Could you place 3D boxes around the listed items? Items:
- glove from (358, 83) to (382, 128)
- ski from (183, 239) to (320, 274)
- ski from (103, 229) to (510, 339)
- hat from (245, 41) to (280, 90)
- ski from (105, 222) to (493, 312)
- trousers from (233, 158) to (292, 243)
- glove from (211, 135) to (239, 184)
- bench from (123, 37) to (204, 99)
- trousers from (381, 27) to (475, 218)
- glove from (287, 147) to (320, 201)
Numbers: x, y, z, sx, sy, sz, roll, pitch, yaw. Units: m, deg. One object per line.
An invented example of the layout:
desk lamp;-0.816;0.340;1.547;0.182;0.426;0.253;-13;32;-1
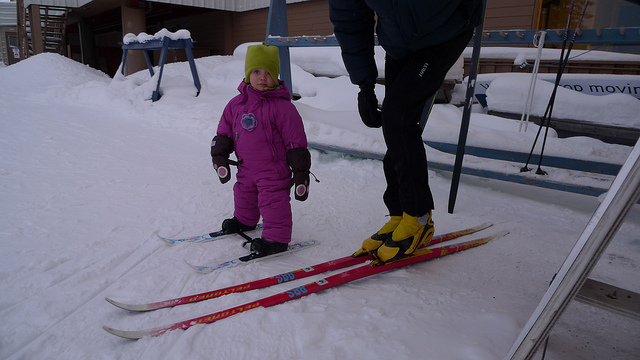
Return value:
glove;0.435;-0.644;3.459;0.293;0.329;0.137;13;-8;-5
ski;-0.467;0.615;3.533;0.183;0.182;1.559;-19;-13;23
ski;-0.135;0.892;3.213;2.696;0.129;0.190;-12;32;-13
hat;-0.525;-1.074;3.738;0.286;0.311;0.368;-5;1;17
ski;-0.216;0.776;3.351;2.646;0.139;0.188;-10;38;-22
trousers;-0.536;0.183;3.630;0.739;0.823;0.336;7;14;37
glove;-0.908;-0.197;3.672;0.246;0.424;0.348;-3;20;-17
bench;-3.236;-2.241;7.555;1.899;0.910;1.121;15;18;42
trousers;0.804;-0.466;3.300;0.588;1.498;0.528;6;19;7
glove;-0.204;-0.065;3.571;0.215;0.461;0.318;2;19;-4
